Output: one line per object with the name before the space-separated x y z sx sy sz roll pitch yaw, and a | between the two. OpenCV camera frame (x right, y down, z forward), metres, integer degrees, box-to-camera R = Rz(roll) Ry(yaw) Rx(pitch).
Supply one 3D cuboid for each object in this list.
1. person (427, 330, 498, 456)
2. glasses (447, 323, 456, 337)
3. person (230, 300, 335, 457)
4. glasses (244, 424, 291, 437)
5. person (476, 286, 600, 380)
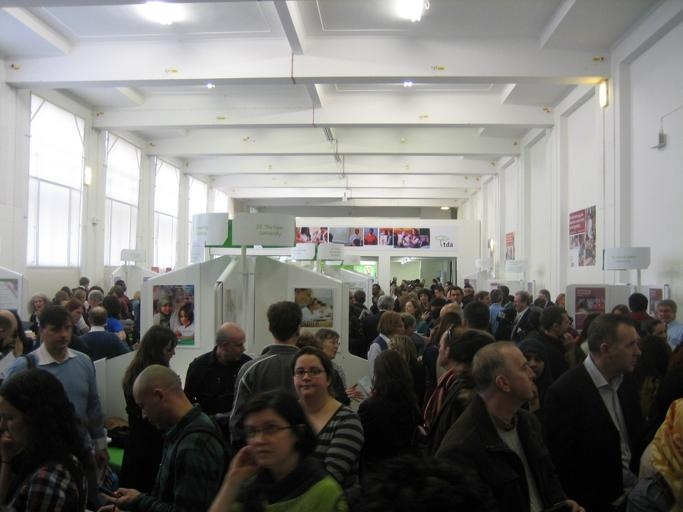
person | 0.674 0.838 3.259 0.353 0.767 0.304 2 -11 40
glasses | 0.748 0.507 3.774 0.020 0.080 0.056 -2 -10 -7
person | -0.371 1.102 3.699 0.686 1.606 0.407 0 8 0
glasses | -0.320 0.735 2.342 0.085 0.027 0.089 -3 -8 14
person | 1.663 0.664 4.340 0.475 0.731 0.829 1 -1 5
